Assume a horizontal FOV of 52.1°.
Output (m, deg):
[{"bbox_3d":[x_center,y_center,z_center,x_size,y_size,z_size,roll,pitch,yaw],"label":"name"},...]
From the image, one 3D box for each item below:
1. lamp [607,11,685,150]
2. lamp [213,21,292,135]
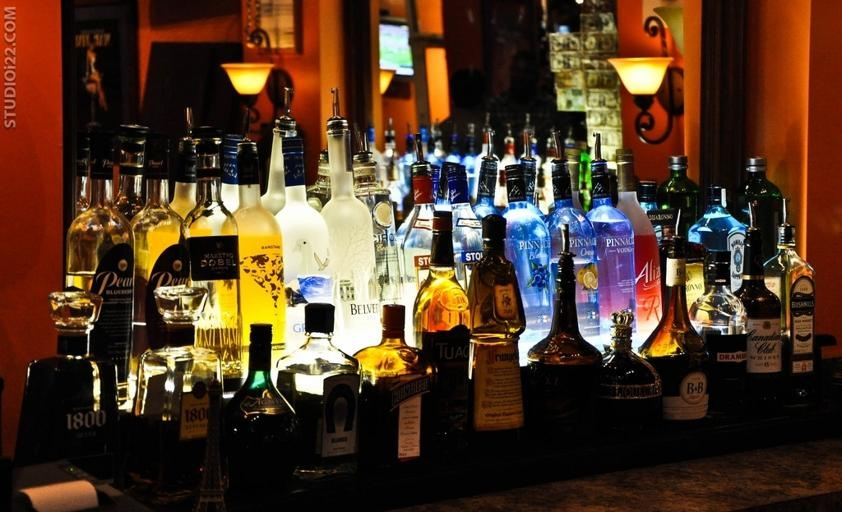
[{"bbox_3d":[0.819,-0.650,3.159,0.293,0.469,0.229,-3,-1,-19],"label":"lamp"},{"bbox_3d":[-0.628,-0.644,3.173,0.211,0.383,0.200,-6,5,-21],"label":"lamp"}]
